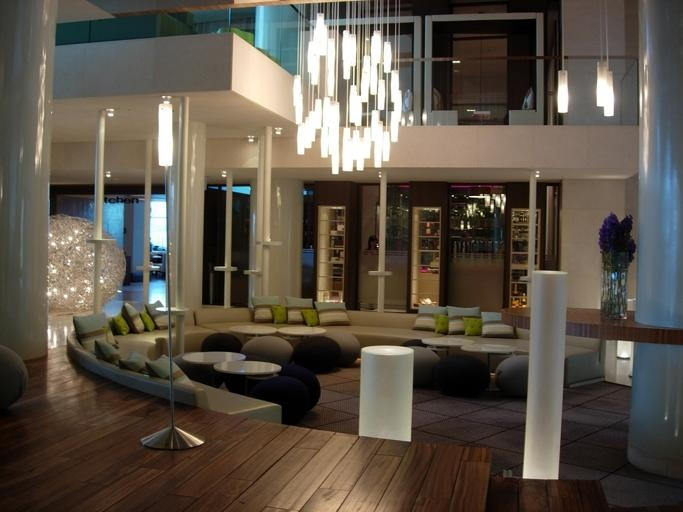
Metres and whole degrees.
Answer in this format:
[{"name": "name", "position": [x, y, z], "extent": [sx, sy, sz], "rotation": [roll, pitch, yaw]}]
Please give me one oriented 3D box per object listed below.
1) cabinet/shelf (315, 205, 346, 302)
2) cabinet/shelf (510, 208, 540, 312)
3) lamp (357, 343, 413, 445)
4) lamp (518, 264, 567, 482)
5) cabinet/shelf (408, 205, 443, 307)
[{"name": "cabinet/shelf", "position": [-0.249, -0.035, 13.119], "extent": [0.599, 2.095, 0.345], "rotation": [2, 3, -3]}, {"name": "cabinet/shelf", "position": [3.811, 0.114, 12.458], "extent": [0.456, 2.103, 0.150], "rotation": [3, 20, 21]}, {"name": "lamp", "position": [0.358, 1.086, 4.647], "extent": [0.408, 0.672, 0.255], "rotation": [2, 3, 1]}, {"name": "lamp", "position": [1.566, 0.919, 4.498], "extent": [0.265, 1.593, 0.298], "rotation": [3, 3, 18]}, {"name": "cabinet/shelf", "position": [1.877, 0.081, 12.797], "extent": [0.672, 2.532, 0.286], "rotation": [2, 26, 11]}]
